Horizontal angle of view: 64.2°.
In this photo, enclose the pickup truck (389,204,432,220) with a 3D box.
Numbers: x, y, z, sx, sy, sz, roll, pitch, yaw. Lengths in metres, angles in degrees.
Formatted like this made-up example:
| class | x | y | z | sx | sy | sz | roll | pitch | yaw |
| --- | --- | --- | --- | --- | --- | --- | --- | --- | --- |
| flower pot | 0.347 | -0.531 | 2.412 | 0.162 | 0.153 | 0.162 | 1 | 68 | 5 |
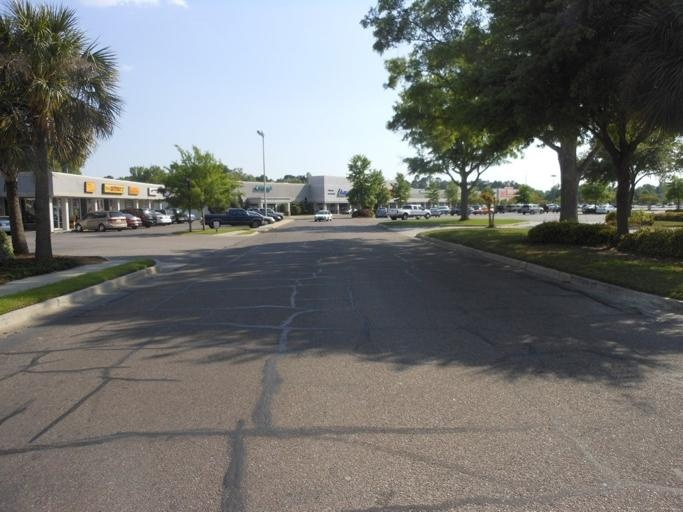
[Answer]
| class | x | y | z | sx | sy | sz | roll | pitch | yaw |
| --- | --- | --- | --- | --- | --- | --- | --- | --- | --- |
| pickup truck | 8.217 | -4.853 | 65.360 | 5.005 | 1.951 | 2.472 | -6 | 8 | -26 |
